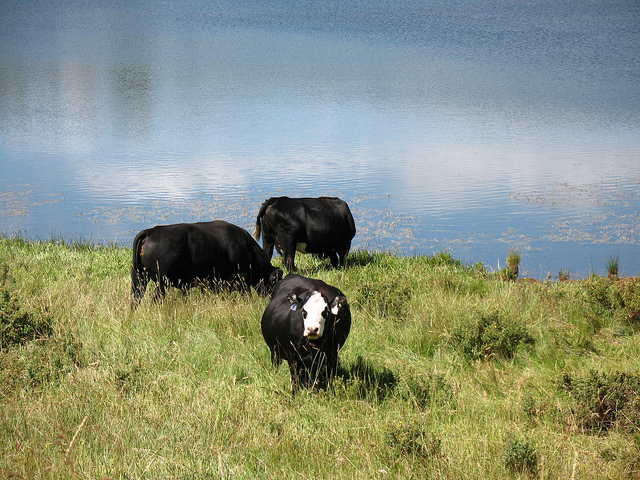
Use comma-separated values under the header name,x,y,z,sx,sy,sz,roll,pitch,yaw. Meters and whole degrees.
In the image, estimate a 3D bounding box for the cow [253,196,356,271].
name,x,y,z,sx,sy,sz,roll,pitch,yaw
cow,-0.206,-0.098,17.364,3.153,1.903,1.119,-3,9,-36

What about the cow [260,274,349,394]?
name,x,y,z,sx,sy,sz,roll,pitch,yaw
cow,-0.272,1.156,10.359,0.968,1.334,2.501,5,5,-8

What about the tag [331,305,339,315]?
name,x,y,z,sx,sy,sz,roll,pitch,yaw
tag,0.172,0.902,9.540,0.044,0.130,0.066,-1,3,14
